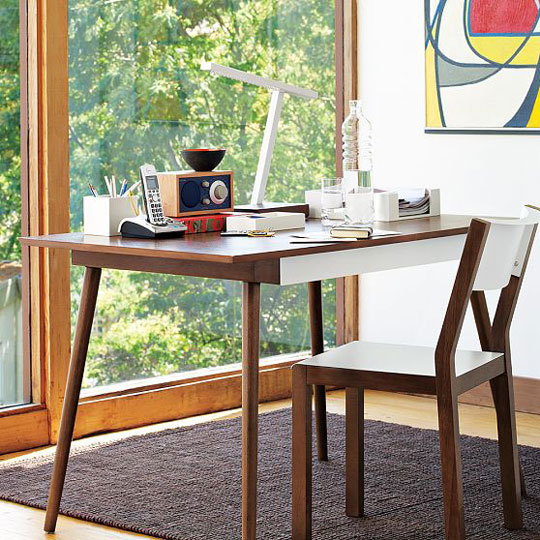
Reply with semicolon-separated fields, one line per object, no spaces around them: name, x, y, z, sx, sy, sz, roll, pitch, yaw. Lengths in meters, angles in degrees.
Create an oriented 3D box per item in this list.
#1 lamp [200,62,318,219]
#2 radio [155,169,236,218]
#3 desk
lamp;-0.074;-0.466;1.876;0.392;0.564;0.272;9;12;41
radio;-0.193;-0.209;1.551;0.183;0.114;0.090;-11;15;-38
desk;0.054;0.144;1.306;0.803;0.680;1.000;3;4;36
